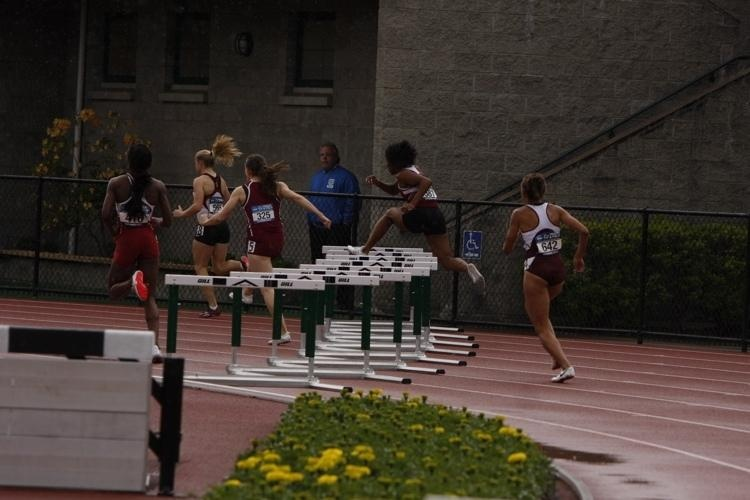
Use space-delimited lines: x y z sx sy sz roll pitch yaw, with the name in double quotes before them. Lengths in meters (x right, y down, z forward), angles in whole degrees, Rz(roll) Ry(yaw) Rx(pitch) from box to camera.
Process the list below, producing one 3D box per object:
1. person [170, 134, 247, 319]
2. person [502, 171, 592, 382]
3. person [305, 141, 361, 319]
"person" -2.881 -0.569 15.205 1.540 3.278 1.146 1 1 21
"person" 2.274 0.394 12.202 1.137 2.832 0.627 2 3 -25
"person" -0.769 -0.406 17.188 1.225 3.154 1.033 1 2 9
